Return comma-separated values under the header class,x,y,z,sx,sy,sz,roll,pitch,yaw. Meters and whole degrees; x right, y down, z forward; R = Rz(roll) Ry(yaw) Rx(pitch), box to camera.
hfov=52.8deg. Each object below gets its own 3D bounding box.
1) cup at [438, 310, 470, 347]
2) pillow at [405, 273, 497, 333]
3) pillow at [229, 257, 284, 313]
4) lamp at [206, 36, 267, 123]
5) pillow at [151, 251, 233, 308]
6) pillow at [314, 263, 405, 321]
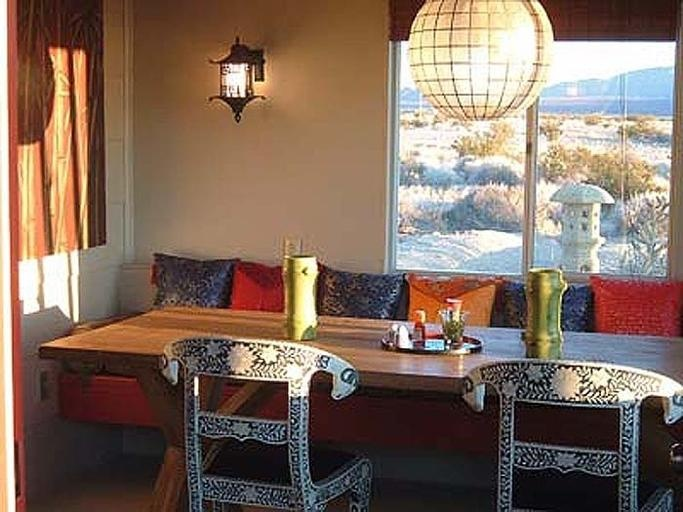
class,x,y,z,sx,sy,sz,roll,pitch,yaw
cup,0.476,0.302,2.896,0.120,0.143,0.134,1,2,14
pillow,0.698,0.287,4.225,0.367,0.118,0.387,-2,46,13
pillow,-0.531,0.156,4.426,0.285,0.187,0.305,5,16,5
lamp,-0.708,-1.169,4.551,0.384,0.557,0.180,4,8,22
pillow,-0.964,0.162,4.455,0.344,0.260,0.051,1,-12,7
pillow,0.107,0.235,4.364,0.333,0.376,0.107,9,-13,2
